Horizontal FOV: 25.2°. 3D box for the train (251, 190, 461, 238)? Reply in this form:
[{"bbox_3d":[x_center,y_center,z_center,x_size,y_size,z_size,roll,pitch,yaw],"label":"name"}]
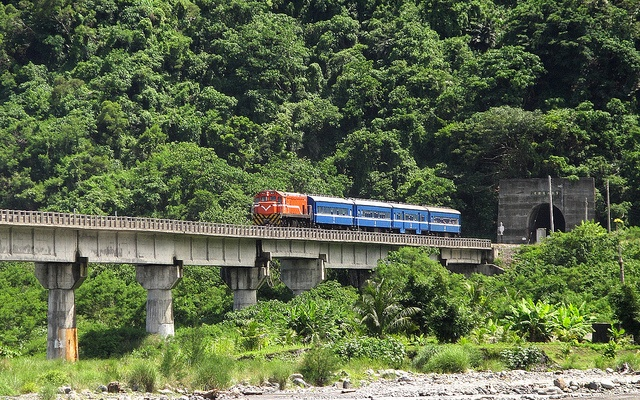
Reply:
[{"bbox_3d":[5.339,1.738,188.212,30.095,5.703,5.632,1,-2,-36],"label":"train"}]
